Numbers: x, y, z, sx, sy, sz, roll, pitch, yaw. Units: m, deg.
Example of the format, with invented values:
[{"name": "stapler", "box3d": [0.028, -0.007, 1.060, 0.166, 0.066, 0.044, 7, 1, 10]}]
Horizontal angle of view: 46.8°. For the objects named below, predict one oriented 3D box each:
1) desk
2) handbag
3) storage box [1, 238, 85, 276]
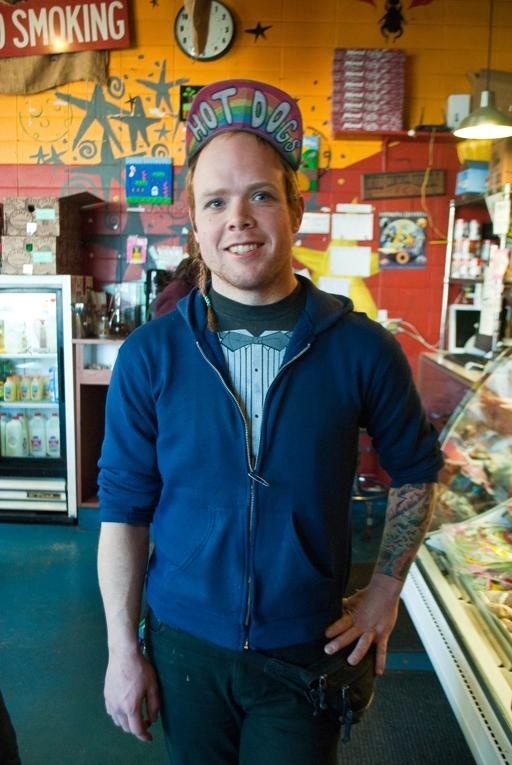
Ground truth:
[{"name": "desk", "box3d": [1.022, 0.042, 3.378, 0.466, 0.411, 0.265, 1, 1, -19]}, {"name": "handbag", "box3d": [0.132, 0.492, 0.960, 0.090, 0.090, 0.060, -16, -16, -27]}, {"name": "storage box", "box3d": [-1.396, -0.821, 3.870, 0.458, 0.248, 0.267, -4, 8, -28]}]
